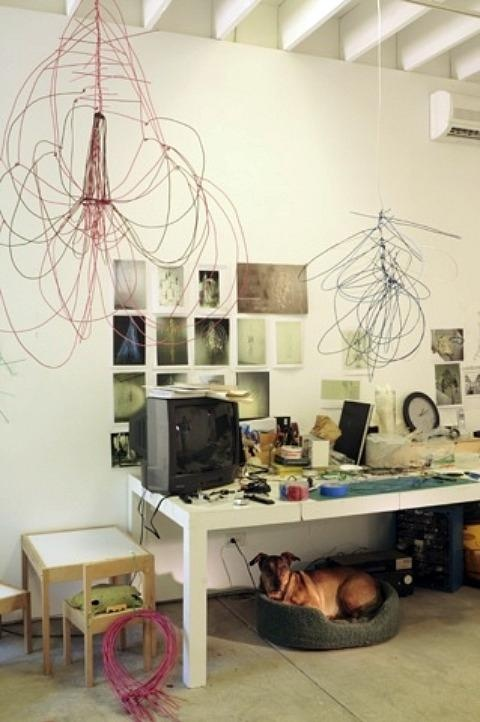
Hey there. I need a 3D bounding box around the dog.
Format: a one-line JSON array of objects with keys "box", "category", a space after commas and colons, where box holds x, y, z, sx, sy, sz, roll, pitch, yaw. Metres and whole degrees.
[{"box": [0.305, 0.927, 2.575, 0.516, 0.282, 0.260, 5, -21, -17], "category": "dog"}]

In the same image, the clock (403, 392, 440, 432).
[{"box": [1.017, 0.282, 3.500, 0.278, 0.218, 0.065, 1, -2, -35], "category": "clock"}]

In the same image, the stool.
[{"box": [-0.569, 0.710, 2.363, 0.418, 0.479, 0.600, 0, 4, -21], "category": "stool"}]

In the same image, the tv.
[{"box": [-0.231, 0.286, 2.592, 0.378, 0.361, 0.362, -2, 5, -40], "category": "tv"}]

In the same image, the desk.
[{"box": [0.308, 0.814, 2.713, 1.592, 0.603, 1.133, 0, -2, -7], "category": "desk"}]

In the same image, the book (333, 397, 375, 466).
[{"box": [0.548, 0.350, 3.070, 0.090, 0.292, 0.275, 0, -2, -13], "category": "book"}]
